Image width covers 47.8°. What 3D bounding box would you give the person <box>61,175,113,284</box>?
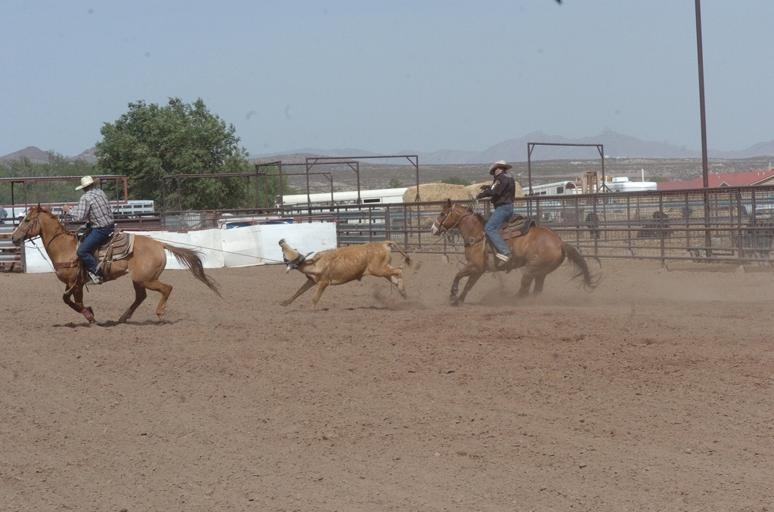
[{"bbox_3d":[-5.233,-0.452,15.524,0.773,1.947,1.001,-5,5,-18],"label":"person"}]

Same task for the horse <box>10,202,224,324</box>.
[{"bbox_3d":[-4.899,0.134,16.027,3.708,1.832,0.873,1,3,-25],"label":"horse"}]

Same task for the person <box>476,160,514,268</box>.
[{"bbox_3d":[2.217,-0.858,17.448,0.684,2.046,1.077,-3,4,9],"label":"person"}]

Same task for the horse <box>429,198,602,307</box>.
[{"bbox_3d":[2.458,-0.170,17.908,2.979,2.111,1.387,-4,4,2],"label":"horse"}]

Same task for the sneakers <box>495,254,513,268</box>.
[{"bbox_3d":[2.296,0.086,17.381,0.260,0.194,0.086,7,33,8],"label":"sneakers"}]
